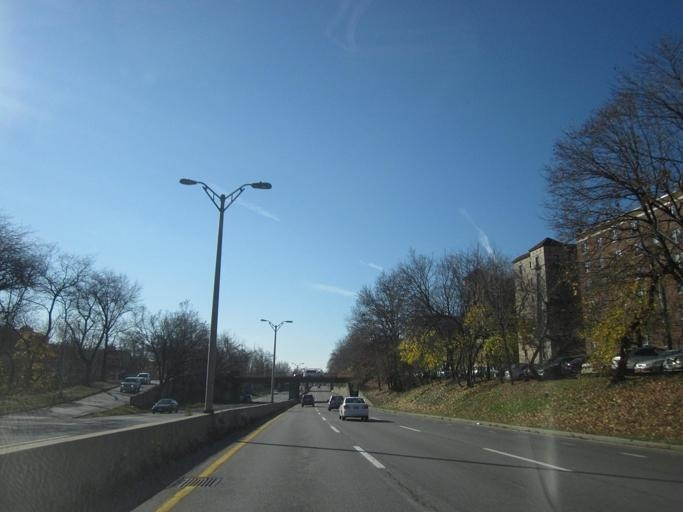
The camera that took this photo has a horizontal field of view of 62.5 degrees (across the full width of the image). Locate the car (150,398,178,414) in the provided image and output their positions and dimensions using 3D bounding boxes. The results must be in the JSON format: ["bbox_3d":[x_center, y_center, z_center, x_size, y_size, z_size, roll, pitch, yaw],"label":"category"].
[{"bbox_3d":[-16.852,14.430,54.200,1.870,1.179,2.013,1,-9,-8],"label":"car"}]
